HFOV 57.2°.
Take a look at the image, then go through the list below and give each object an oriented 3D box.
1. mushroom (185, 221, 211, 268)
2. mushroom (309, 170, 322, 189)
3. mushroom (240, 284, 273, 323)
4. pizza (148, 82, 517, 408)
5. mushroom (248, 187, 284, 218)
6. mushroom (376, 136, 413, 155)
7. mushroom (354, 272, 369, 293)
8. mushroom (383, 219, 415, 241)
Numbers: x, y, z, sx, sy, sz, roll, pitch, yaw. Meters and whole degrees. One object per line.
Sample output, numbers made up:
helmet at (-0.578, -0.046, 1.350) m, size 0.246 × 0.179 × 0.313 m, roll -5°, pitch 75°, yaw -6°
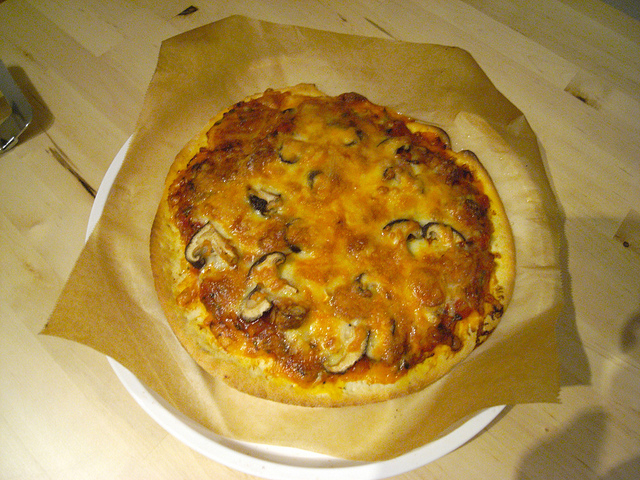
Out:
mushroom at (-0.613, 0.036, 2.952) m, size 0.159 × 0.218 × 0.056 m, roll -29°, pitch 70°, yaw -25°
mushroom at (-0.029, -0.301, 2.918) m, size 0.057 × 0.019 × 0.077 m, roll 11°, pitch 77°, yaw 23°
mushroom at (-0.316, 0.305, 2.807) m, size 0.143 × 0.041 × 0.180 m, roll -2°, pitch 94°, yaw 4°
pizza at (0.051, 0.049, 3.003) m, size 1.861 × 0.385 × 1.576 m, roll 7°, pitch 81°, yaw 1°
mushroom at (-0.279, -0.205, 2.973) m, size 0.233 × 0.215 × 0.063 m, roll 28°, pitch 82°, yaw -26°
mushroom at (0.374, -0.485, 3.015) m, size 0.143 × 0.037 × 0.092 m, roll -22°, pitch 50°, yaw -9°
mushroom at (0.209, 0.198, 2.798) m, size 0.061 × 0.023 × 0.081 m, roll 4°, pitch 82°, yaw -7°
mushroom at (0.396, -0.063, 2.877) m, size 0.160 × 0.037 × 0.099 m, roll 21°, pitch 82°, yaw 3°
